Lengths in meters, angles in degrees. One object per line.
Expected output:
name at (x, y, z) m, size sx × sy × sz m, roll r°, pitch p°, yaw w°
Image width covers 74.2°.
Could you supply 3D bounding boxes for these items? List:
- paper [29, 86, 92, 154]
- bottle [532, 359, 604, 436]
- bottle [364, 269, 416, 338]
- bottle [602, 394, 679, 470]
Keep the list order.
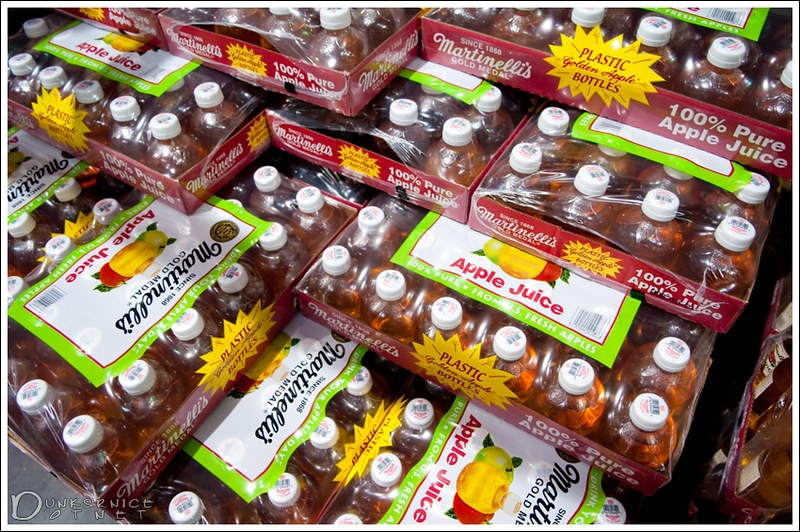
paper at (-1.125, -0.506, 1.778) m, size 0.204 × 0.163 × 0.003 m, roll 32°, pitch 34°, yaw 8°
bottle at (0.450, 0.359, 1.491) m, size 0.183 × 0.315 × 0.195 m, roll -3°, pitch 65°, yaw 8°
bottle at (-0.035, 0.126, 1.598) m, size 0.172 × 0.298 × 0.183 m, roll -1°, pitch 62°, yaw 1°
bottle at (0.610, 0.438, 1.444) m, size 0.172 × 0.305 × 0.187 m, roll -7°, pitch 60°, yaw 12°
